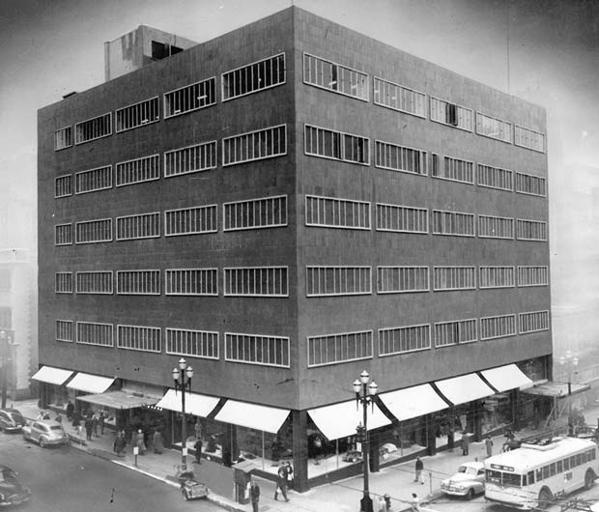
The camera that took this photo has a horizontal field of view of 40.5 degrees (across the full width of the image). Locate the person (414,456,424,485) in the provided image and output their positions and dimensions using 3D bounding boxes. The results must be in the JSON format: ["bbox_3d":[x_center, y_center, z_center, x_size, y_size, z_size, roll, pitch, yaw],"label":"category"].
[{"bbox_3d":[7.837,14.098,53.438,0.575,1.738,2.198,2,-1,9],"label":"person"}]

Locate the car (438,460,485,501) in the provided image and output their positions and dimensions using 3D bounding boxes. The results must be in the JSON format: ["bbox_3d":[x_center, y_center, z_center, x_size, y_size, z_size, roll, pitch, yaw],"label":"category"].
[{"bbox_3d":[10.568,14.224,51.132,1.505,1.531,2.701,-11,-11,40],"label":"car"}]

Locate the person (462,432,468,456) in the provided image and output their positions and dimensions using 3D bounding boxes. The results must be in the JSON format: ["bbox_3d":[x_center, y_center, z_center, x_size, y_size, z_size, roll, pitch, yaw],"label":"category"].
[{"bbox_3d":[12.015,13.819,58.982,0.489,1.610,1.289,2,-1,12],"label":"person"}]

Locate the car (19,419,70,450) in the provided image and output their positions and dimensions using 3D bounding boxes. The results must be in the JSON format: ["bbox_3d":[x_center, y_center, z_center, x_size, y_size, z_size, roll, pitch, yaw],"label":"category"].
[{"bbox_3d":[-18.929,13.478,61.201,3.654,1.981,1.763,2,-1,42],"label":"car"}]

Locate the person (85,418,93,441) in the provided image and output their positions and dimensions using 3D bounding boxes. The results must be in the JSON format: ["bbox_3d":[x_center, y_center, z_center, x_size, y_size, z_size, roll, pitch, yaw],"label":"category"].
[{"bbox_3d":[-15.966,13.321,62.020,0.517,1.627,0.896,2,0,-18],"label":"person"}]

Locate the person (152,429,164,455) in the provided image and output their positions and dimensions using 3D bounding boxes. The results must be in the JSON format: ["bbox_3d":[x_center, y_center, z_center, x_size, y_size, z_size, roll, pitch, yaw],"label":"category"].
[{"bbox_3d":[-10.311,13.641,59.558,0.819,1.663,1.914,2,-1,-10],"label":"person"}]

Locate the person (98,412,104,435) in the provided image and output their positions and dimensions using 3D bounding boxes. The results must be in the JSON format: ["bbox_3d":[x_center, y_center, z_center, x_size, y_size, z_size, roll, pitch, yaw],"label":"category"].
[{"bbox_3d":[-15.642,13.343,64.614,0.503,1.789,1.812,2,0,-15],"label":"person"}]
